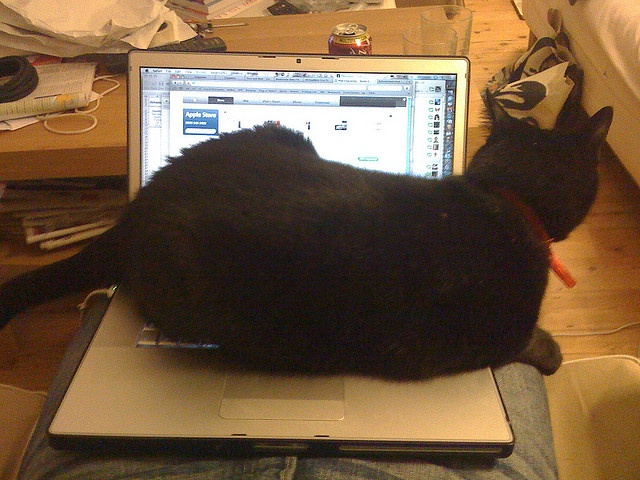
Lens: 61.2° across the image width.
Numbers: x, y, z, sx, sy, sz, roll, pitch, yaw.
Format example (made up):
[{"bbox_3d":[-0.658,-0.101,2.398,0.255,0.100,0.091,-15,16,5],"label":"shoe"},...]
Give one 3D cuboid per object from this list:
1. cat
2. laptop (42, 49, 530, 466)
[{"bbox_3d":[-0.134,0.047,0.797,0.963,0.205,0.323,-6,-16,10],"label":"cat"},{"bbox_3d":[-0.088,-0.120,0.814,0.681,0.259,0.505,9,25,17],"label":"laptop"}]
